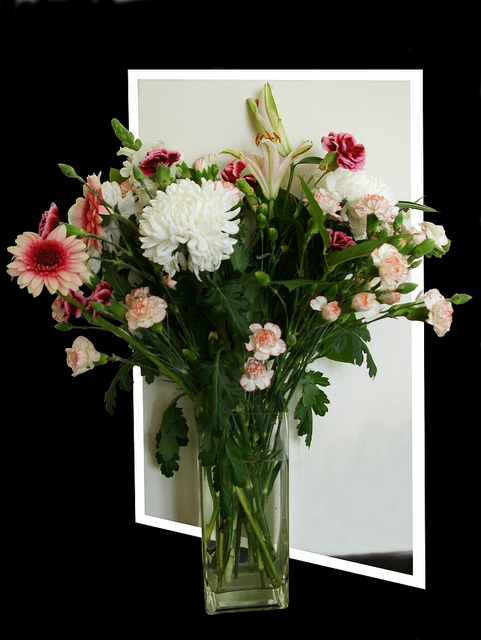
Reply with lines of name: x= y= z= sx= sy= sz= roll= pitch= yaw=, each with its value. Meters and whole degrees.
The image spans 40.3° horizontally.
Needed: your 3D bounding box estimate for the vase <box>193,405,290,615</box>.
vase: x=0.004 y=0.357 z=1.212 sx=0.174 sy=0.405 sz=0.159 roll=-2 pitch=2 yaw=2
